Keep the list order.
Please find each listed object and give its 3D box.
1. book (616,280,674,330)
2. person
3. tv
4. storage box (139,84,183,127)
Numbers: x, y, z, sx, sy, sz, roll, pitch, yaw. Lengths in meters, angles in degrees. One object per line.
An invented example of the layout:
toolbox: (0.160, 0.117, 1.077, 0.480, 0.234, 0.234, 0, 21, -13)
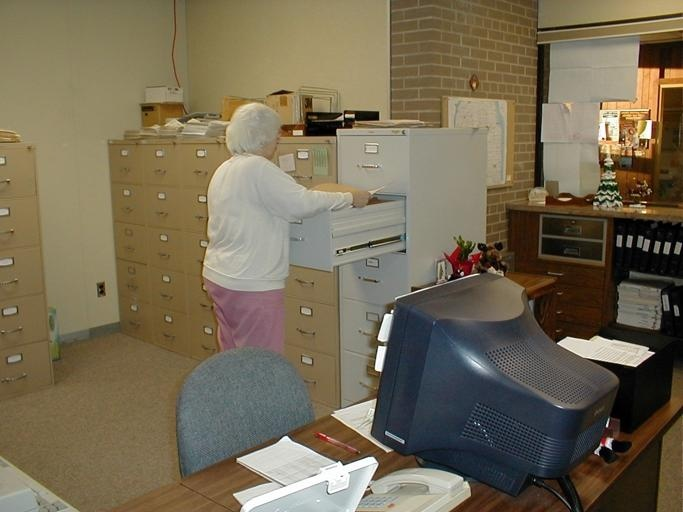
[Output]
book: (2.556, 0.421, 4.428, 0.390, 0.440, 0.151, 6, 8, 18)
person: (-0.364, -0.116, 2.736, 0.756, 1.335, 0.324, -1, 12, -1)
tv: (0.380, 0.290, 1.407, 0.534, 0.430, 0.511, 19, 28, 34)
storage box: (-1.800, -1.506, 5.247, 0.417, 0.387, 0.296, -6, 14, -22)
